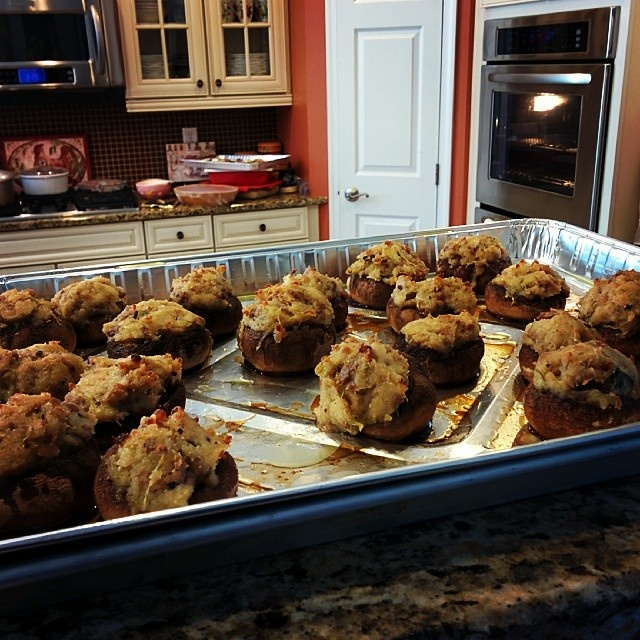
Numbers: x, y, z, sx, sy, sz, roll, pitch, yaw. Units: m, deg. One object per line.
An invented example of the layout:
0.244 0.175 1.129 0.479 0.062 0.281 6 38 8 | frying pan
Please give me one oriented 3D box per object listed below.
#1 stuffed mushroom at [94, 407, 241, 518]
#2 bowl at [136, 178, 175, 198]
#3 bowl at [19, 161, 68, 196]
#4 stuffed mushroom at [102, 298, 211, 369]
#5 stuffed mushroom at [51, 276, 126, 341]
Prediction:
-0.240 0.216 0.844 0.208 0.110 0.253 -8 18 -18 | stuffed mushroom
-1.129 -0.896 3.843 0.224 0.121 0.349 -6 19 -13 | bowl
-1.786 -0.914 3.635 0.284 0.129 0.242 -1 13 -2 | bowl
-0.460 0.029 1.503 0.279 0.130 0.245 8 20 25 | stuffed mushroom
-0.655 -0.037 1.713 0.238 0.171 0.224 -10 22 -31 | stuffed mushroom
